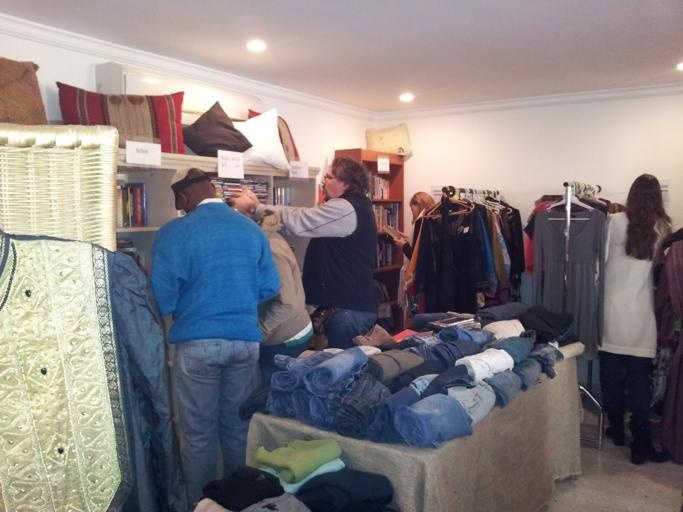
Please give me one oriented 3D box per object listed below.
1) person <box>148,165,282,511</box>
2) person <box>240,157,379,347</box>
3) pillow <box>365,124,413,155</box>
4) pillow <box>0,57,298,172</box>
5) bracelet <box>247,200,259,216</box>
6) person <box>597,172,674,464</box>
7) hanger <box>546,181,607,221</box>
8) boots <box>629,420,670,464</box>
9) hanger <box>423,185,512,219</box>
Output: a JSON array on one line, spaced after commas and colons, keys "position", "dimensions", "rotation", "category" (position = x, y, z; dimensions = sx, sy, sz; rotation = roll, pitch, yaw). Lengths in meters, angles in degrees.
[{"position": [-0.674, 0.416, 2.998], "dimensions": [0.637, 1.754, 0.408], "rotation": [0, 6, -11], "category": "person"}, {"position": [-0.248, 0.246, 4.036], "dimensions": [1.041, 1.886, 0.625], "rotation": [-5, 13, -29], "category": "person"}, {"position": [0.506, -1.324, 6.237], "dimensions": [0.400, 0.410, 0.104], "rotation": [-6, -7, 7], "category": "pillow"}, {"position": [-1.334, -0.920, 3.667], "dimensions": [1.671, 0.575, 0.446], "rotation": [-4, 8, -38], "category": "pillow"}, {"position": [-0.611, -0.323, 3.786], "dimensions": [0.030, 0.077, 0.075], "rotation": [16, -12, -26], "category": "bracelet"}, {"position": [2.169, 0.425, 4.074], "dimensions": [0.390, 2.016, 0.540], "rotation": [0, 6, -9], "category": "person"}, {"position": [1.994, -0.474, 4.624], "dimensions": [0.372, 0.191, 0.572], "rotation": [3, 6, 36], "category": "hanger"}, {"position": [2.220, 1.347, 4.022], "dimensions": [0.288, 0.286, 0.135], "rotation": [2, -8, -2], "category": "boots"}, {"position": [1.278, -0.549, 5.512], "dimensions": [0.828, 0.247, 1.311], "rotation": [3, 7, 13], "category": "hanger"}]
